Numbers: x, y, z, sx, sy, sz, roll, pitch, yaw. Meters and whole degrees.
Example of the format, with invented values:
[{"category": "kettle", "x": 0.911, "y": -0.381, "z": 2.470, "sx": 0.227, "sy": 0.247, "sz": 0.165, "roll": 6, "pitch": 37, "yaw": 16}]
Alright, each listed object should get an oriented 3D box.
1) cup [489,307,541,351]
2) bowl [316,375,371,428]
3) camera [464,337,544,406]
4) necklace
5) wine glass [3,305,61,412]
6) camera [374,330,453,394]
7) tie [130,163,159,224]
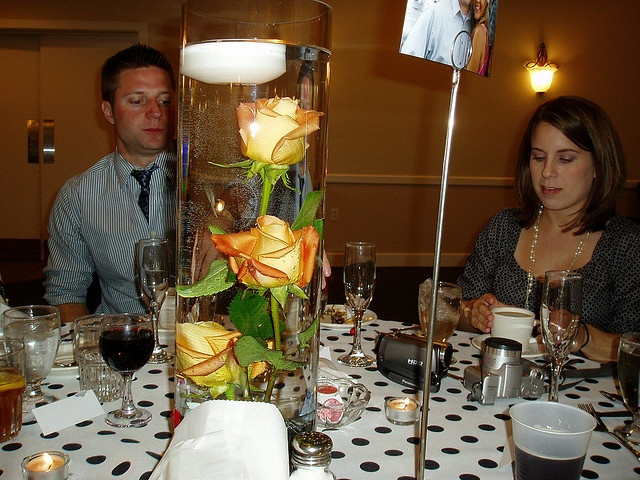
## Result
[{"category": "cup", "x": 0.484, "y": 0.226, "z": 1.327, "sx": 0.118, "sy": 0.093, "sz": 0.094, "roll": 7, "pitch": -7, "yaw": -7}, {"category": "bowl", "x": 0.035, "y": 0.312, "z": 0.998, "sx": 0.115, "sy": 0.050, "sz": 0.111, "roll": -1, "pitch": 2, "yaw": 0}, {"category": "camera", "x": 0.406, "y": 0.291, "z": 1.147, "sx": 0.146, "sy": 0.129, "sz": 0.169, "roll": -1, "pitch": 0, "yaw": 32}, {"category": "necklace", "x": 0.896, "y": 0.043, "z": 2.095, "sx": 0.154, "sy": 0.518, "sz": 0.024, "roll": 13, "pitch": -11, "yaw": 31}, {"category": "wine glass", "x": -0.578, "y": 0.244, "z": 1.040, "sx": 0.110, "sy": 0.195, "sz": 0.123, "roll": 25, "pitch": 22, "yaw": 38}, {"category": "camera", "x": 0.197, "y": 0.267, "z": 1.112, "sx": 0.195, "sy": 0.125, "sz": 0.078, "roll": 6, "pitch": 7, "yaw": 42}, {"category": "tie", "x": -0.747, "y": -0.201, "z": 2.180, "sx": 0.118, "sy": 0.244, "sz": 0.043, "roll": 4, "pitch": 8, "yaw": 11}]
